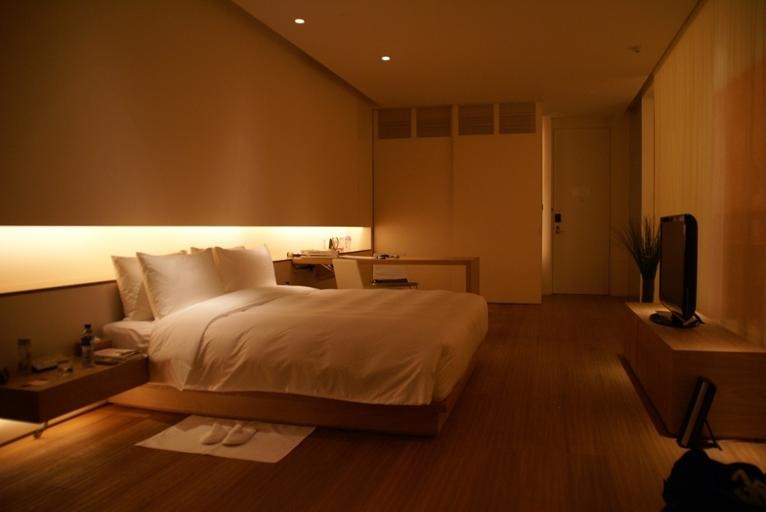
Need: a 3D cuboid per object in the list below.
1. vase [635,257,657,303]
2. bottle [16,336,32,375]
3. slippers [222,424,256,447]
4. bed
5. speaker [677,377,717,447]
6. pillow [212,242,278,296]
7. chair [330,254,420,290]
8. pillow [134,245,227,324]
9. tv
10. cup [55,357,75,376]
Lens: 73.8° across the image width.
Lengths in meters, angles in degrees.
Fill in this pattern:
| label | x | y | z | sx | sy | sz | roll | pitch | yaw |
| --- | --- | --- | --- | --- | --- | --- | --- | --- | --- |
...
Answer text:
| label | x | y | z | sx | sy | sz | roll | pitch | yaw |
| --- | --- | --- | --- | --- | --- | --- | --- | --- | --- |
| vase | 3.085 | 0.257 | 5.959 | 0.253 | 0.549 | 0.234 | 0 | -2 | 25 |
| bottle | -2.629 | 0.721 | 3.743 | 0.086 | 0.239 | 0.117 | -5 | 14 | -17 |
| slippers | -1.067 | 1.315 | 3.823 | 0.174 | 0.077 | 0.273 | 5 | 15 | 22 |
| bed | -0.543 | 0.805 | 4.015 | 1.481 | 0.435 | 1.703 | 0 | 2 | 17 |
| speaker | 2.272 | 1.111 | 3.664 | 0.301 | 0.470 | 0.187 | -2 | 14 | -3 |
| pillow | -1.409 | 0.111 | 5.121 | 0.140 | 0.499 | 0.499 | -19 | -12 | 31 |
| chair | -0.166 | 0.212 | 6.528 | 0.772 | 0.744 | 0.582 | 0 | 1 | 27 |
| pillow | -1.800 | 0.225 | 4.476 | 0.165 | 0.587 | 0.586 | -23 | -7 | 33 |
| tv | 2.555 | 0.113 | 4.415 | 0.397 | 0.900 | 0.883 | 0 | 4 | 17 |
| cup | -2.360 | 0.810 | 3.790 | 0.108 | 0.130 | 0.110 | 3 | 0 | 0 |
